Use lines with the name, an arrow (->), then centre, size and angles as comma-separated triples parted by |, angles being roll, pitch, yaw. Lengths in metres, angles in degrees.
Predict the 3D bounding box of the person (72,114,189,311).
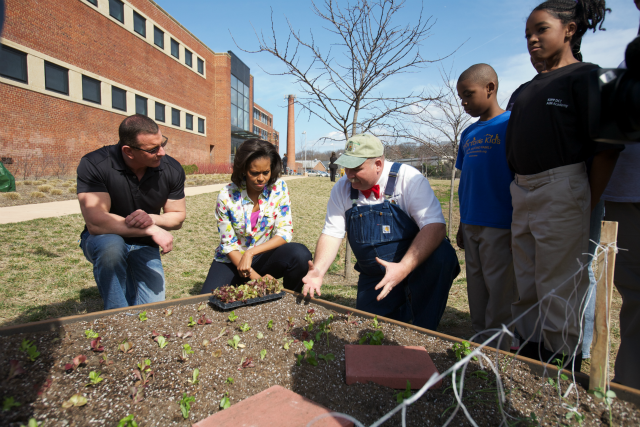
person -> -1.865, 0.058, 4.009 | 0.977, 2.030, 0.852 | 0, 15, -32

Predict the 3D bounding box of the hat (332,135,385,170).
hat -> 0.365, -0.538, 3.526 | 0.415, 0.332, 0.288 | 8, 12, -1
